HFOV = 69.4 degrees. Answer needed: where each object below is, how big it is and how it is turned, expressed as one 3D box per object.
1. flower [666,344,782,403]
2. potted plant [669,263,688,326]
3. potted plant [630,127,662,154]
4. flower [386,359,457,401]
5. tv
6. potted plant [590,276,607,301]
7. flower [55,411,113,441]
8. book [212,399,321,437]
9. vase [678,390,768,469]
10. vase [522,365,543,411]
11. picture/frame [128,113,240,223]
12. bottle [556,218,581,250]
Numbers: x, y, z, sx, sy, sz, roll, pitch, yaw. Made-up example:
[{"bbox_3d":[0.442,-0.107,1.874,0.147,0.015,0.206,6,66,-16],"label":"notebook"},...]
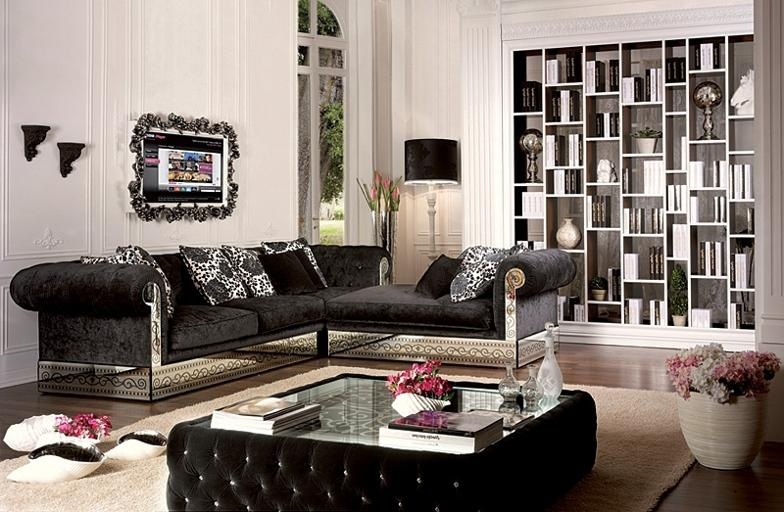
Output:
[{"bbox_3d":[2.026,0.722,3.475,0.412,0.270,0.425,-4,7,-2],"label":"flower"},{"bbox_3d":[3.610,0.487,7.137,0.230,0.767,0.221,2,4,43],"label":"potted plant"},{"bbox_3d":[3.360,-1.493,7.429,0.337,0.342,0.420,1,1,-19],"label":"potted plant"},{"bbox_3d":[0.145,0.763,3.504,0.277,0.195,0.274,-3,4,-33],"label":"flower"},{"bbox_3d":[-2.533,-1.060,6.541,0.050,0.773,1.096,-1,-1,36],"label":"tv"},{"bbox_3d":[2.738,0.427,7.501,0.259,0.332,0.269,0,-9,11],"label":"potted plant"},{"bbox_3d":[-2.084,1.124,3.840,0.239,0.132,0.244,2,3,-12],"label":"flower"},{"bbox_3d":[-0.689,0.821,2.912,0.234,0.060,0.245,2,3,25],"label":"book"},{"bbox_3d":[2.051,1.068,3.620,0.451,0.382,0.475,0,-4,-25],"label":"vase"},{"bbox_3d":[0.807,0.780,3.373,0.136,0.242,0.141,10,-3,11],"label":"vase"},{"bbox_3d":[-2.495,-1.030,6.600,0.105,1.185,1.391,-1,-1,33],"label":"picture/frame"},{"bbox_3d":[2.365,-0.293,7.675,0.377,0.497,0.393,1,1,0],"label":"bottle"}]
